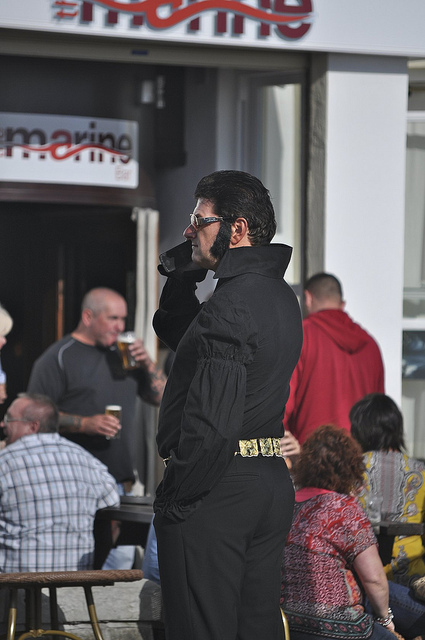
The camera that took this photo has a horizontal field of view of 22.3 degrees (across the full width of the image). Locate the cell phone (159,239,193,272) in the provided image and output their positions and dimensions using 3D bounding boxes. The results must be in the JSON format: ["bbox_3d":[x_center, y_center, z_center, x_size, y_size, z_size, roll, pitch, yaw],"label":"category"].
[{"bbox_3d":[-0.138,-0.243,4.136,0.156,0.084,0.037,-45,-13,-32],"label":"cell phone"}]

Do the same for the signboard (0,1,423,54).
[{"bbox_3d":[0.055,-1.572,5.520,2.154,0.261,0.105,0,3,-11],"label":"signboard"}]

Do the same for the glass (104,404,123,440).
[{"bbox_3d":[-0.536,0.563,5.786,0.095,0.189,0.142,1,3,-5],"label":"glass"}]

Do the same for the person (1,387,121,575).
[{"bbox_3d":[-0.732,0.797,4.883,0.560,0.764,0.981,1,4,-1],"label":"person"}]

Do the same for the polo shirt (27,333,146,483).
[{"bbox_3d":[-0.682,0.454,5.548,0.370,0.905,0.766,-1,2,42],"label":"polo shirt"}]
